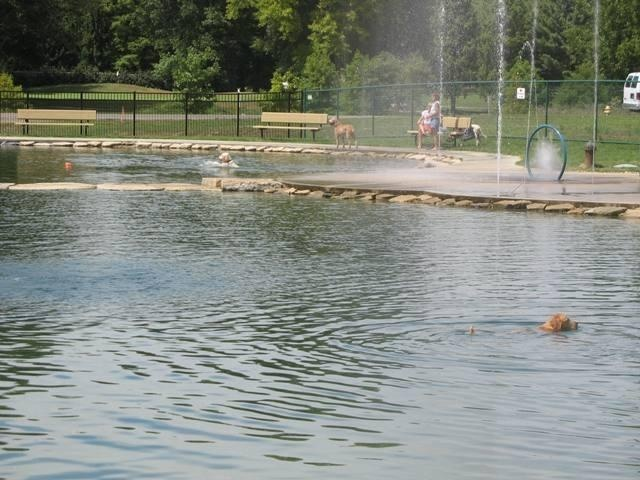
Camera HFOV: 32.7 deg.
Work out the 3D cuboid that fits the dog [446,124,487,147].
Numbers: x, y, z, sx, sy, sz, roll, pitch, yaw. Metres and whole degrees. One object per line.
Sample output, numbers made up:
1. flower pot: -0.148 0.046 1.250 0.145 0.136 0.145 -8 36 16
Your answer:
1. dog: 5.518 -4.205 41.845 1.547 0.630 1.443 1 3 23
